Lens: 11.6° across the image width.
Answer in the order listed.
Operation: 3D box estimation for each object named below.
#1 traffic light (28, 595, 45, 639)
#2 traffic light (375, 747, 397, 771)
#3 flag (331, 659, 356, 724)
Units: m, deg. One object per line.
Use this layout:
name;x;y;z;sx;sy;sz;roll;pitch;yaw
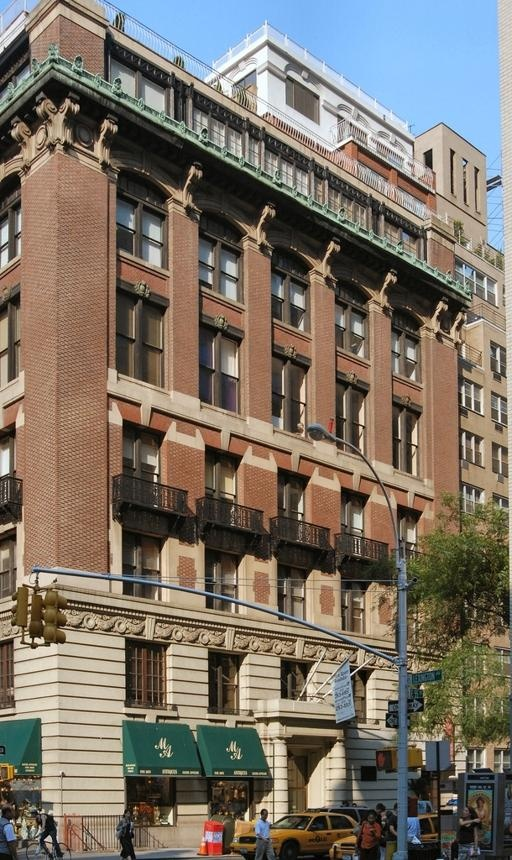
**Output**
traffic light;-5.668;4.580;64.092;0.374;1.343;1.241;0;-17;-6
traffic light;3.722;9.254;70.653;0.504;0.713;0.619;-1;7;13
flag;2.870;8.530;82.879;0.195;1.946;1.497;14;-52;-12
